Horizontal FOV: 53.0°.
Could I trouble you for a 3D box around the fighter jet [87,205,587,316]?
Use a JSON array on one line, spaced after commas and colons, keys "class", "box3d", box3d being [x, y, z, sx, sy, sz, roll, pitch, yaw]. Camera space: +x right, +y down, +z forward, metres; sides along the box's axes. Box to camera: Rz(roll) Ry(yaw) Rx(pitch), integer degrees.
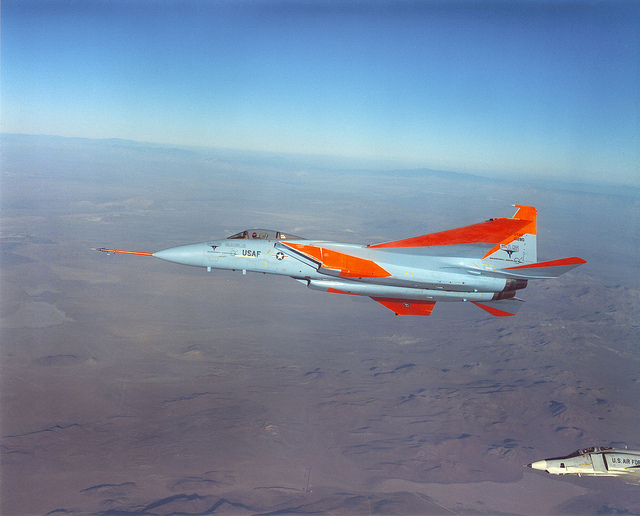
[{"class": "fighter jet", "box3d": [1.272, -0.319, 38.247, 25.198, 4.085, 19.821, -1, -17, 39]}]
